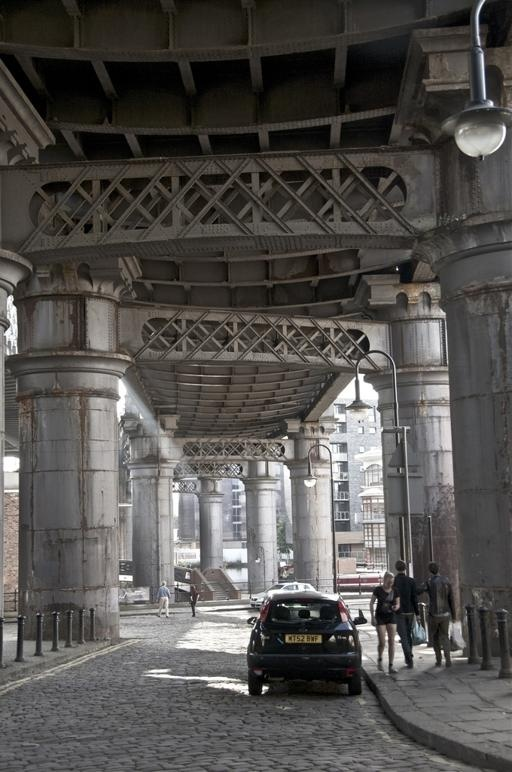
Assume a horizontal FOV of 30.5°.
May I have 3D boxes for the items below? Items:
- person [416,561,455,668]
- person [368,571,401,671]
[{"bbox_3d":[2.370,2.989,12.237,0.430,1.285,1.021,-5,-11,11],"label":"person"},{"bbox_3d":[1.748,3.151,12.532,0.386,1.250,1.340,-4,-10,6],"label":"person"}]
